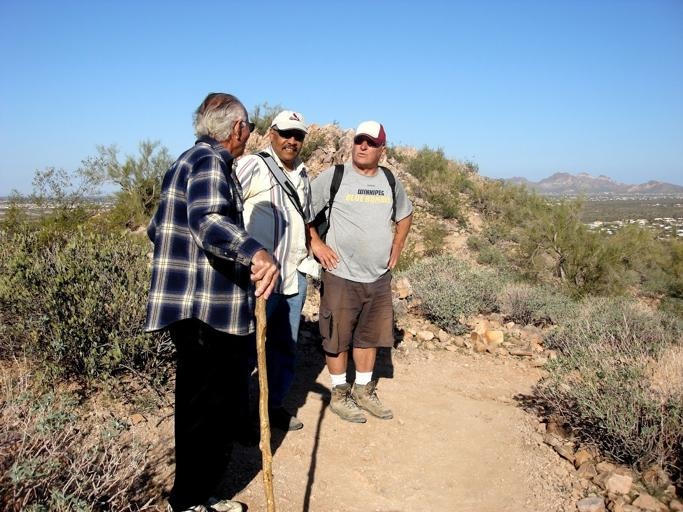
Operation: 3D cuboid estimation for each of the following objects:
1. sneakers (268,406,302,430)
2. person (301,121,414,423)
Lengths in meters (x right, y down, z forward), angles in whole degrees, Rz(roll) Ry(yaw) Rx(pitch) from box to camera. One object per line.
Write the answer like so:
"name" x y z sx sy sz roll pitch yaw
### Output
"sneakers" -0.558 1.557 4.717 0.314 0.250 0.185 -1 9 -5
"person" 0.151 0.172 5.022 1.136 3.073 0.885 -2 12 -19
